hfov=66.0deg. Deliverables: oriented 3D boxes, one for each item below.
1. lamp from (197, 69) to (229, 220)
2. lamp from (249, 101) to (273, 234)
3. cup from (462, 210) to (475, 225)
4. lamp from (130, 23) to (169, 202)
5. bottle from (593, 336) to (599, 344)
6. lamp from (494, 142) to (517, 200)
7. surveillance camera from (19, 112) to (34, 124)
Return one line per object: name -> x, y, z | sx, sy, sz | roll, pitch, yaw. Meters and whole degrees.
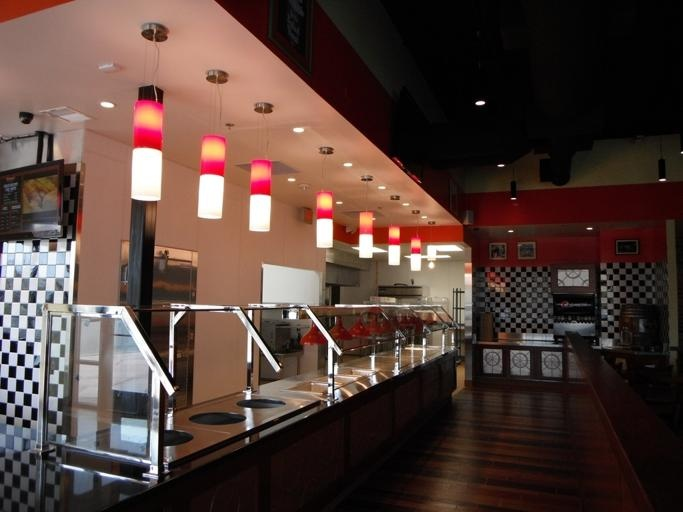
lamp -> -1.009, -0.829, 4.110 | 0.201, 1.042, 0.843 | 5, 5, -15
lamp -> -0.701, -0.728, 4.604 | 0.212, 1.066, 0.923 | 6, 5, -8
cup -> 2.317, -0.700, 9.577 | 0.183, 0.189, 0.440 | 9, 5, 20
lamp -> -1.297, -0.924, 3.571 | 0.211, 1.072, 0.747 | 5, 5, -21
bottle -> 4.794, 1.586, 9.914 | 0.116, 0.163, 0.059 | 11, -6, 4
lamp -> 2.670, -1.355, 8.545 | 0.339, 0.824, 0.731 | 3, 1, 27
surveillance camera -> -2.633, -1.150, 4.384 | 0.085, 0.065, 0.085 | 0, -12, -13
